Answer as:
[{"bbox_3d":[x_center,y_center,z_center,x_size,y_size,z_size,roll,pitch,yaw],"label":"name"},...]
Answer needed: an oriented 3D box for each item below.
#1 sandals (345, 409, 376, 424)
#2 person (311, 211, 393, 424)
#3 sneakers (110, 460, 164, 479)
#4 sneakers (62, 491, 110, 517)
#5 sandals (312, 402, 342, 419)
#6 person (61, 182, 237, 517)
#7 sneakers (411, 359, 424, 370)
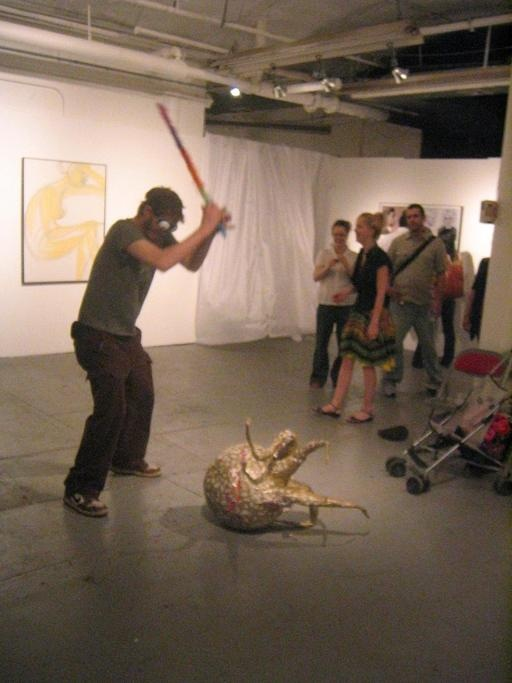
[{"bbox_3d":[0.919,0.661,5.178,0.215,0.075,0.105,1,-5,-15],"label":"sandals"},{"bbox_3d":[0.917,-0.194,5.067,0.410,1.814,0.523,-4,14,-41],"label":"person"},{"bbox_3d":[-0.746,0.806,3.701,0.324,0.108,0.110,0,1,-7],"label":"sneakers"},{"bbox_3d":[-0.898,0.851,3.126,0.263,0.090,0.095,3,5,27],"label":"sneakers"},{"bbox_3d":[0.658,0.634,5.336,0.257,0.099,0.092,11,-3,21],"label":"sandals"},{"bbox_3d":[-0.621,0.037,3.186,0.746,1.728,0.649,6,11,6],"label":"person"},{"bbox_3d":[2.115,0.309,7.673,0.152,0.125,0.067,-2,0,26],"label":"sneakers"}]
